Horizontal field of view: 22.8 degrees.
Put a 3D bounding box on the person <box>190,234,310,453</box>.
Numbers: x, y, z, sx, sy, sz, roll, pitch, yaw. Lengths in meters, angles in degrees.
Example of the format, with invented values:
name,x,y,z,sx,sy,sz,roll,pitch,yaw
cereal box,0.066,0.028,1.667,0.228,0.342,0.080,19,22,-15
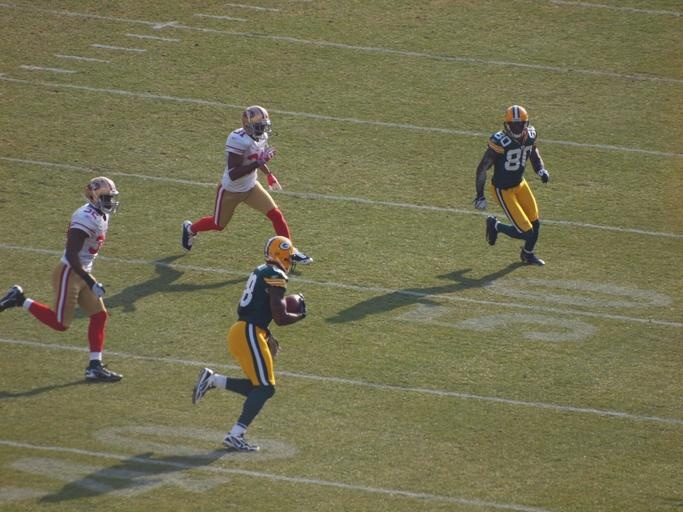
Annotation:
name,x,y,z,sx,sy,sz,roll,pitch,yaw
person,-0.970,0.921,18.002,0.933,2.256,1.016,11,16,-1

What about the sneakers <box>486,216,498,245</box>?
name,x,y,z,sx,sy,sz,roll,pitch,yaw
sneakers,1.807,-0.328,20.717,0.213,0.310,0.136,-1,24,11

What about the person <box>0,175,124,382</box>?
name,x,y,z,sx,sy,sz,roll,pitch,yaw
person,-2.995,0.203,18.683,1.359,2.241,1.026,7,16,-12

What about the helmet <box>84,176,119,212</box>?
name,x,y,z,sx,sy,sz,roll,pitch,yaw
helmet,-2.665,-0.685,18.618,0.352,0.400,0.225,7,16,-8

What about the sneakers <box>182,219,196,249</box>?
name,x,y,z,sx,sy,sz,roll,pitch,yaw
sneakers,-1.874,-0.274,20.470,0.227,0.321,0.135,2,18,11

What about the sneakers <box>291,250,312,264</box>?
name,x,y,z,sx,sy,sz,roll,pitch,yaw
sneakers,-0.479,0.009,19.021,0.265,0.073,0.110,5,28,-17

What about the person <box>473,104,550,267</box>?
name,x,y,z,sx,sy,sz,roll,pitch,yaw
person,2.083,-0.893,20.580,0.997,1.928,0.604,12,16,1

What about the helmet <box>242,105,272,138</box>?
name,x,y,z,sx,sy,sz,roll,pitch,yaw
helmet,-1.044,-1.606,20.036,0.342,0.377,0.262,8,15,-5

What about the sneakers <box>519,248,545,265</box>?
name,x,y,z,sx,sy,sz,roll,pitch,yaw
sneakers,2.257,0.017,20.612,0.399,0.116,0.164,17,-22,10

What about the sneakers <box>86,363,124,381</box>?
name,x,y,z,sx,sy,sz,roll,pitch,yaw
sneakers,-2.593,1.287,18.643,0.530,0.154,0.152,2,10,-7

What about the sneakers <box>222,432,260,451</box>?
name,x,y,z,sx,sy,sz,roll,pitch,yaw
sneakers,-1.014,1.972,17.928,0.547,0.170,0.145,9,21,-10
